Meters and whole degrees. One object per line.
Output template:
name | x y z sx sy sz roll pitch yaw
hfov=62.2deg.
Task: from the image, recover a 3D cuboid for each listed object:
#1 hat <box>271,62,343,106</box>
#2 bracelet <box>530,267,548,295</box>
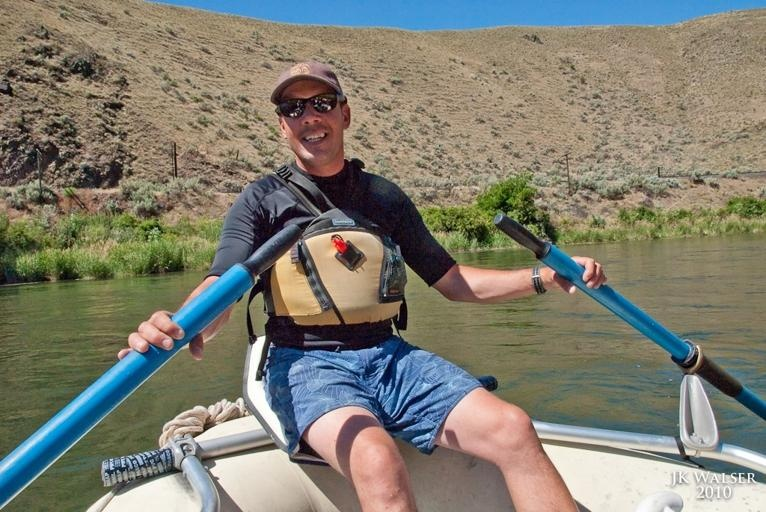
hat | -0.396 -1.026 3.712 0.263 0.159 0.338 -8 -27 13
bracelet | 0.879 0.141 3.600 0.051 0.133 0.105 -6 -5 7
